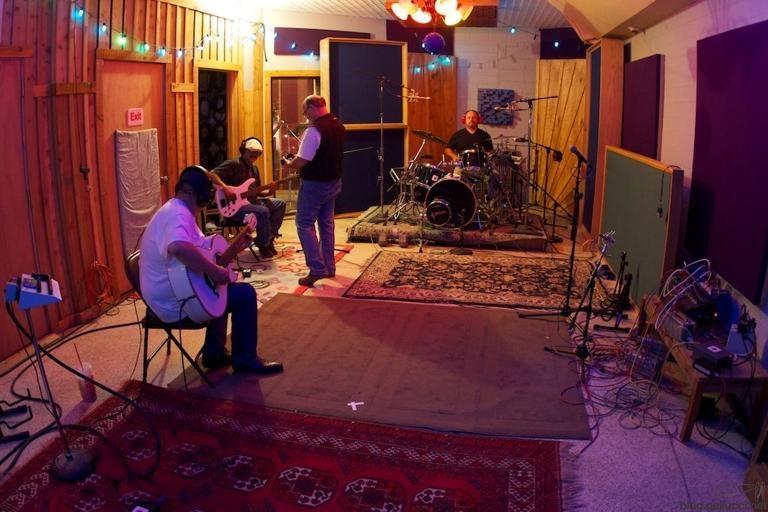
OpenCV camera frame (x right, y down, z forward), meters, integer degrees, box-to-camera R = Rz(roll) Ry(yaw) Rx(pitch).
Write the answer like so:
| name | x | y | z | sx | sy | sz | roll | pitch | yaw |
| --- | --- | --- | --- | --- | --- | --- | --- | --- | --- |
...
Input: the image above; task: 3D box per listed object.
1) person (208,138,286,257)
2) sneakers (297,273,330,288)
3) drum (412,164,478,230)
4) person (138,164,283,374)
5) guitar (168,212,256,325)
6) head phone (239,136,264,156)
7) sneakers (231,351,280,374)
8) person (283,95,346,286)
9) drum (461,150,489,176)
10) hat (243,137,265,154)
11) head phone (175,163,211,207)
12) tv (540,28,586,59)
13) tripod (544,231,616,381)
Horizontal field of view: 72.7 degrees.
| name | x | y | z | sx | sy | sz | roll | pitch | yaw |
| --- | --- | --- | --- | --- | --- | --- | --- | --- | --- |
| person | -1.932 | -0.923 | 7.686 | 1.023 | 1.644 | 0.892 | 11 | 14 | 10 |
| sneakers | -0.919 | 0.328 | 6.681 | 0.368 | 0.160 | 0.157 | 0 | 3 | -7 |
| drum | 0.964 | -0.869 | 8.306 | 0.950 | 0.983 | 0.943 | 12 | 11 | 3 |
| person | -1.489 | 0.174 | 4.523 | 1.175 | 1.807 | 0.919 | -1 | 12 | -24 |
| guitar | -1.414 | 0.008 | 4.563 | 0.209 | 0.604 | 1.226 | -11 | 31 | 19 |
| head phone | -1.912 | -1.601 | 7.517 | 0.319 | 0.204 | 0.248 | -2 | -4 | 29 |
| sneakers | -1.126 | 0.995 | 4.756 | 0.505 | 0.223 | 0.171 | 0 | 2 | -7 |
| person | -0.839 | -0.781 | 6.483 | 0.511 | 2.308 | 0.670 | 7 | 16 | 20 |
| drum | 1.436 | -1.451 | 8.238 | 0.406 | 0.322 | 0.412 | 0 | -6 | 0 |
| hat | -1.879 | -1.586 | 7.506 | 0.190 | 0.157 | 0.254 | 5 | 18 | -20 |
| head phone | -1.532 | -0.552 | 4.216 | 0.285 | 0.318 | 0.149 | -5 | 16 | -19 |
| tv | 3.808 | -4.523 | 11.103 | 0.983 | 0.626 | 0.193 | 9 | 17 | 27 |
| tripod | 1.995 | 0.489 | 5.070 | 0.638 | 1.134 | 0.674 | 16 | 5 | 28 |
